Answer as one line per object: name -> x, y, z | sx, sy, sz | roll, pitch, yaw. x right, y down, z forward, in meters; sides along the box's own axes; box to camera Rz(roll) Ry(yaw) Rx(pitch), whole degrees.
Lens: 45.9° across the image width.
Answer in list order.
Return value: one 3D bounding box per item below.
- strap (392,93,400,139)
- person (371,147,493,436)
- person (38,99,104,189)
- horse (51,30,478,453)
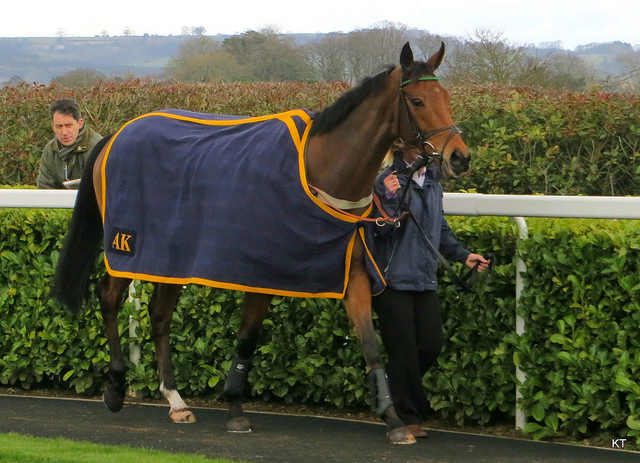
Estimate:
strap -> 0.480, -0.717, 4.761 | 0.046, 0.259, 0.035 | 1, 5, 13
person -> 0.660, 0.387, 5.026 | 0.631, 1.879, 0.451 | 0, 5, -1
person -> -2.182, -0.693, 6.769 | 0.688, 0.835, 0.527 | 3, 3, 20
horse -> -0.476, 0.092, 5.305 | 3.315, 2.605, 0.994 | 1, 1, 25
